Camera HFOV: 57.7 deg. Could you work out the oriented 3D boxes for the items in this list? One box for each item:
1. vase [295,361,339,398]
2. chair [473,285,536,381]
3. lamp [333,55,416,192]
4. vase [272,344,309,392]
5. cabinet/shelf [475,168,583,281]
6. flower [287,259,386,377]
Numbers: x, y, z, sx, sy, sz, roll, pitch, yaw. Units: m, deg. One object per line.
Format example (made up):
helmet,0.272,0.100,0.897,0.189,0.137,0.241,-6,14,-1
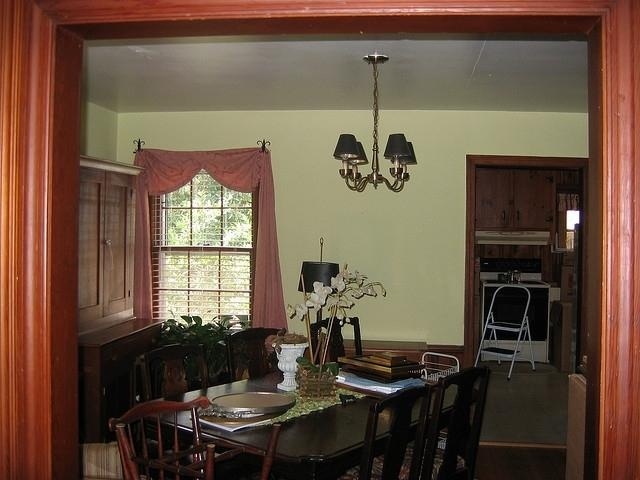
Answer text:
vase,-0.021,0.690,2.930,0.194,0.183,0.172,2,-4,-10
chair,2.061,0.983,6.443,0.508,0.954,0.482,3,-1,39
lamp,0.358,-0.763,3.836,0.513,0.887,0.566,1,-1,-4
vase,-0.164,0.687,3.138,0.186,0.226,0.194,-1,-9,12
cabinet/shelf,2.690,-0.135,7.505,0.852,1.583,1.532,3,3,-33
flower,0.165,0.403,3.060,0.304,0.420,0.306,20,3,30
